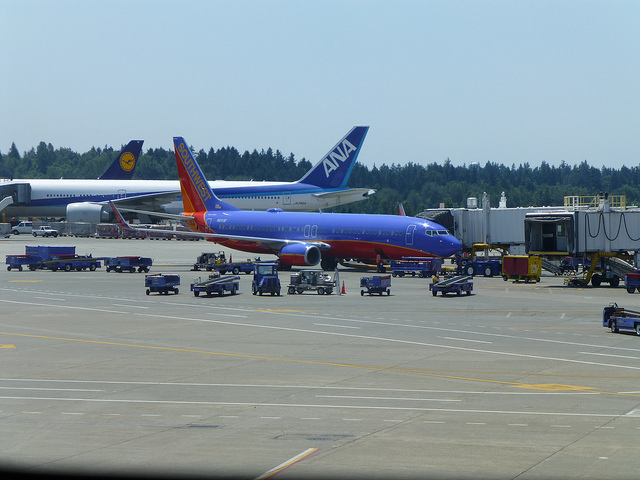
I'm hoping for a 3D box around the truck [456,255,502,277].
[{"bbox_3d":[11.899,1.852,83.619,2.687,0.783,1.960,-1,2,-43],"label":"truck"}]

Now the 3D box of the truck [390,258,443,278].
[{"bbox_3d":[7.154,1.922,80.868,2.961,1.002,1.639,3,3,30],"label":"truck"}]

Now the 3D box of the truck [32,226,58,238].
[{"bbox_3d":[-32.422,-1.054,134.139,2.792,0.832,1.406,-2,1,33],"label":"truck"}]

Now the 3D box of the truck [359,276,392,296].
[{"bbox_3d":[3.426,2.676,68.826,1.737,1.253,2.189,1,9,5],"label":"truck"}]

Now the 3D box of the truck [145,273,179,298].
[{"bbox_3d":[-9.332,2.703,68.296,2.198,0.865,1.098,1,-3,-6],"label":"truck"}]

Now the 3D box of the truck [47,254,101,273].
[{"bbox_3d":[-18.902,1.742,87.472,3.111,0.810,1.533,-1,4,-16],"label":"truck"}]

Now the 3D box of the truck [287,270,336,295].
[{"bbox_3d":[-0.396,2.539,69.438,2.475,0.985,1.455,0,3,5],"label":"truck"}]

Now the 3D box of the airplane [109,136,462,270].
[{"bbox_3d":[-2.335,-0.750,86.565,17.112,5.026,16.340,2,6,34],"label":"airplane"}]

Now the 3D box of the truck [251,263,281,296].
[{"bbox_3d":[-3.147,2.413,68.101,1.643,1.870,1.966,-1,9,-4],"label":"truck"}]
